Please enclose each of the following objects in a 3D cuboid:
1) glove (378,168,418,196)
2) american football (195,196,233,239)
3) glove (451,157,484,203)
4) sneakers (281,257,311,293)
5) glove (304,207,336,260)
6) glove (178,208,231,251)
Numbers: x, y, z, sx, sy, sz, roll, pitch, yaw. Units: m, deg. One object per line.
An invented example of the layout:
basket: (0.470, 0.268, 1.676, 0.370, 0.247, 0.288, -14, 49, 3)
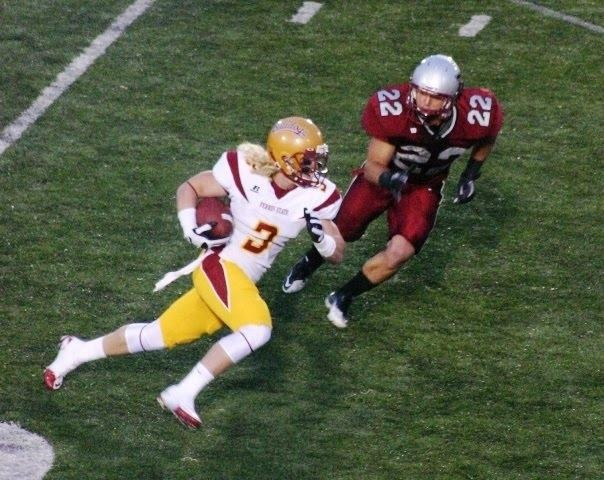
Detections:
glove: (0.710, -0.460, 8.253, 0.169, 0.176, 0.270, -29, 64, -19)
american football: (-0.673, -0.165, 8.000, 0.262, 0.187, 0.304, -17, 45, 9)
glove: (1.348, -0.456, 8.757, 0.168, 0.177, 0.475, 26, 67, 10)
sneakers: (-0.053, 0.314, 8.867, 0.144, 0.159, 0.378, 37, 46, -2)
glove: (0.134, -0.049, 7.986, 0.159, 0.204, 0.358, -35, 81, 8)
glove: (-0.787, -0.059, 7.982, 0.345, 0.295, 0.201, 26, 76, 32)
